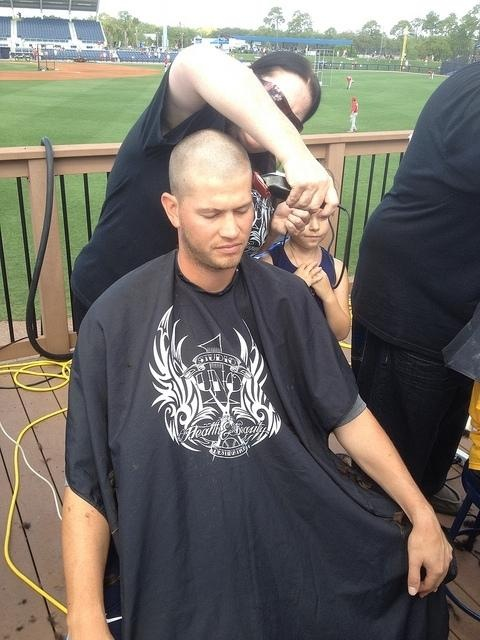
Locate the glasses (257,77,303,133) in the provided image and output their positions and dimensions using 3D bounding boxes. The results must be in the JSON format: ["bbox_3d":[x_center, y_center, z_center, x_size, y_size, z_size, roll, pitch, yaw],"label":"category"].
[{"bbox_3d":[0.078,-0.546,1.384,0.134,0.048,0.132,35,21,-57],"label":"glasses"}]
